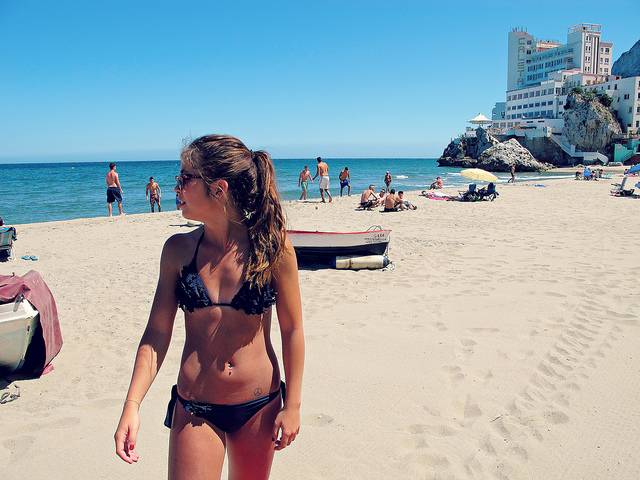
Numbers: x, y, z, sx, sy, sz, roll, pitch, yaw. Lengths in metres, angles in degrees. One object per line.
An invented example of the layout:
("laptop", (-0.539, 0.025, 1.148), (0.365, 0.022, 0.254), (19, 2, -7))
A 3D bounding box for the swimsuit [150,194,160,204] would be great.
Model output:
("swimsuit", (-5.962, -1.490, 19.367), (0.295, 0.327, 0.411), (-4, 7, -18))

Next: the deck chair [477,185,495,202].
("deck chair", (6.858, -1.936, 21.963), (0.554, 0.623, 1.015), (5, 9, 44))

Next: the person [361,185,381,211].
("person", (1.759, -1.481, 19.033), (0.623, 0.785, 1.196), (0, 7, 14))

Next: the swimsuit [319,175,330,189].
("swimsuit", (0.178, -2.302, 21.202), (0.345, 0.531, 0.915), (-2, 7, -3))

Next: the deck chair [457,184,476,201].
("deck chair", (6.128, -1.955, 22.046), (0.874, 0.971, 0.569), (-2, 7, 7))

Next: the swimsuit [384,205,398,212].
("swimsuit", (2.406, -1.057, 18.173), (0.449, 0.176, 0.294), (-1, 7, 5))

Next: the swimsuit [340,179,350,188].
("swimsuit", (1.092, -2.497, 23.514), (0.569, 0.410, 0.731), (-5, 11, 3))

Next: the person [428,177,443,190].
("person", (6.015, -2.937, 27.678), (0.486, 0.590, 2.019), (0, 7, 11))

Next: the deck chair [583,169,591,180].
("deck chair", (17.094, -4.150, 34.383), (0.430, 0.515, 1.401), (2, 8, 26))

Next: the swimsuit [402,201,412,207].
("swimsuit", (3.042, -1.272, 18.799), (0.187, 0.212, 0.783), (1, 7, 18))

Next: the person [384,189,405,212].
("person", (2.457, -1.369, 18.376), (0.500, 0.740, 0.692), (13, 22, 35))
